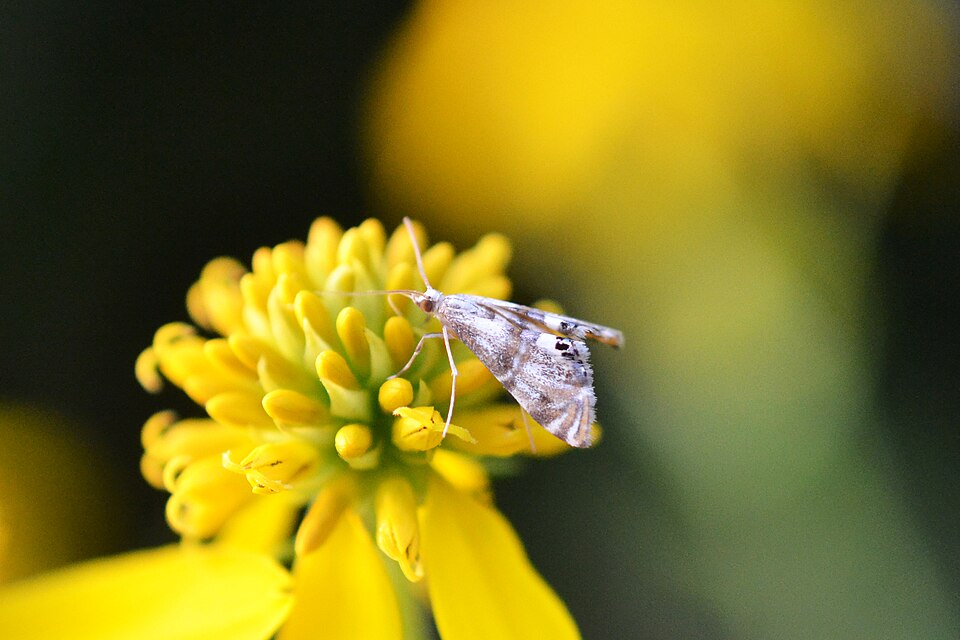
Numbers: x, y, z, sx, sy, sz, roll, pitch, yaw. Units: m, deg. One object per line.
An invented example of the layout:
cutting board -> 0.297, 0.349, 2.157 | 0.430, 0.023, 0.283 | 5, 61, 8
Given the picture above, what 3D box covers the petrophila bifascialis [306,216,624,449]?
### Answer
petrophila bifascialis -> 0.008, 0.057, 1.228 | 0.310, 0.118, 0.204 | 7, 28, 30
